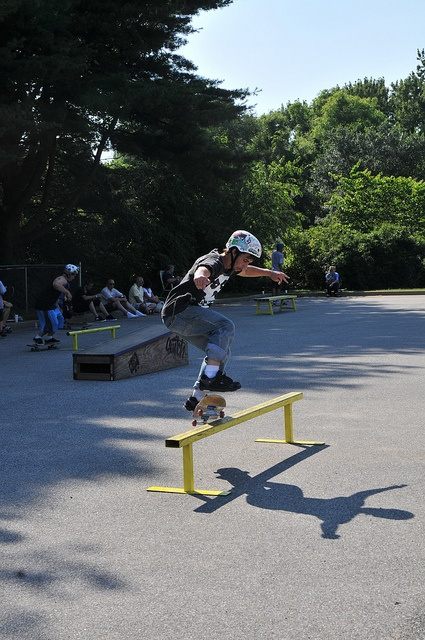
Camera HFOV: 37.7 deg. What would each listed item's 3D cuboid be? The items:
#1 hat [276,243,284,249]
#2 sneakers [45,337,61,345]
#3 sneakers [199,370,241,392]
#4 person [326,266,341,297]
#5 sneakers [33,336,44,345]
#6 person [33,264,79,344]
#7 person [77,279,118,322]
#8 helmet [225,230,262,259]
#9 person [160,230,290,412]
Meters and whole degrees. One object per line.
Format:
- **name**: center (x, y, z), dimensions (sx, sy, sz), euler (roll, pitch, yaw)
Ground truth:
- **hat**: center (2.480, -2.704, 22.883), dimensions (0.249, 0.238, 0.196), euler (-28, 30, -18)
- **sneakers**: center (-3.635, 0.502, 14.158), dimensions (0.364, 0.161, 0.141), euler (3, 8, 6)
- **sneakers**: center (0.029, 0.477, 4.826), dimensions (0.357, 0.173, 0.134), euler (3, 7, -6)
- **person**: center (6.742, -1.996, 35.410), dimensions (0.616, 1.303, 1.058), euler (-1, 2, 28)
- **sneakers**: center (-3.902, 0.467, 13.989), dimensions (0.229, 0.220, 0.380), euler (-2, 2, -15)
- **person**: center (-3.539, -0.332, 14.261), dimensions (0.990, 1.845, 0.988), euler (4, 0, 16)
- **person**: center (-3.926, -0.614, 20.387), dimensions (1.528, 1.343, 0.705), euler (4, 0, 14)
- **helmet**: center (0.263, -0.611, 4.988), dimensions (0.276, 0.164, 0.190), euler (22, 12, -6)
- **person**: center (0.033, -0.016, 4.966), dimensions (0.788, 1.413, 0.899), euler (-2, 2, -13)
